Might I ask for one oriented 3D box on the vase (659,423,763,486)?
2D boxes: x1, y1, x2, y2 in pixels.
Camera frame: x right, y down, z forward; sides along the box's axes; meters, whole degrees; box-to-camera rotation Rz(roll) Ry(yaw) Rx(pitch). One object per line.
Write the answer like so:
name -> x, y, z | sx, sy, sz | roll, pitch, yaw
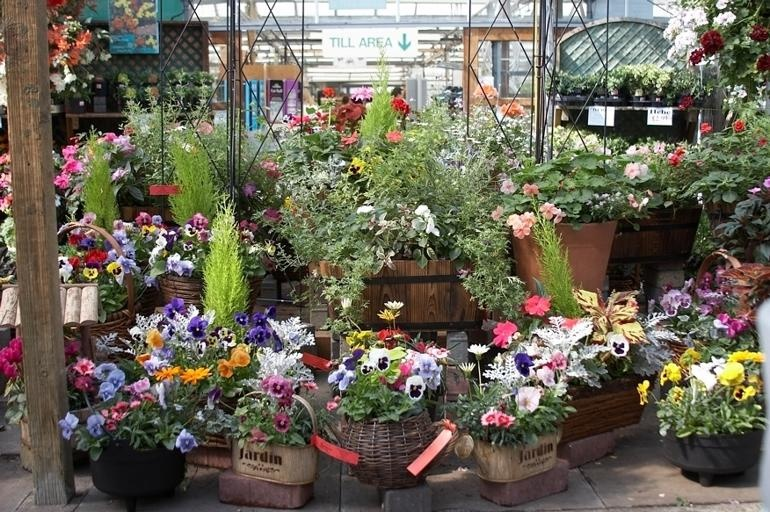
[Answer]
vase -> 1.569, 0.952, 3.481 | 0.303, 0.189, 0.324 | -5, 6, 7
